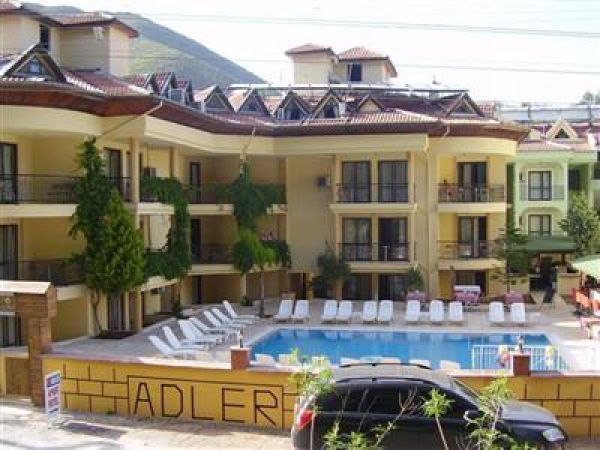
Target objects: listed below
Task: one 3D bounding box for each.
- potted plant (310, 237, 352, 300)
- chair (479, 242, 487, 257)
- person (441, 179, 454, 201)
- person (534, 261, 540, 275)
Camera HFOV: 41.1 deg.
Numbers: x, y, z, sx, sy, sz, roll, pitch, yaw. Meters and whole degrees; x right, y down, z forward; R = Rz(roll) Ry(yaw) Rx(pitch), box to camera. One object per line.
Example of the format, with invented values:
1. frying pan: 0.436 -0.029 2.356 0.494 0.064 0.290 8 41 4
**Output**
1. potted plant: 1.646 2.762 43.518 1.644 2.524 1.915 -3 -10 2
2. chair: 10.301 1.430 45.030 0.534 0.725 0.497 2 14 1
3. person: 8.172 -1.787 44.687 0.545 0.954 0.911 14 19 42
4. person: 15.262 2.779 51.351 0.351 0.822 0.329 5 14 15
